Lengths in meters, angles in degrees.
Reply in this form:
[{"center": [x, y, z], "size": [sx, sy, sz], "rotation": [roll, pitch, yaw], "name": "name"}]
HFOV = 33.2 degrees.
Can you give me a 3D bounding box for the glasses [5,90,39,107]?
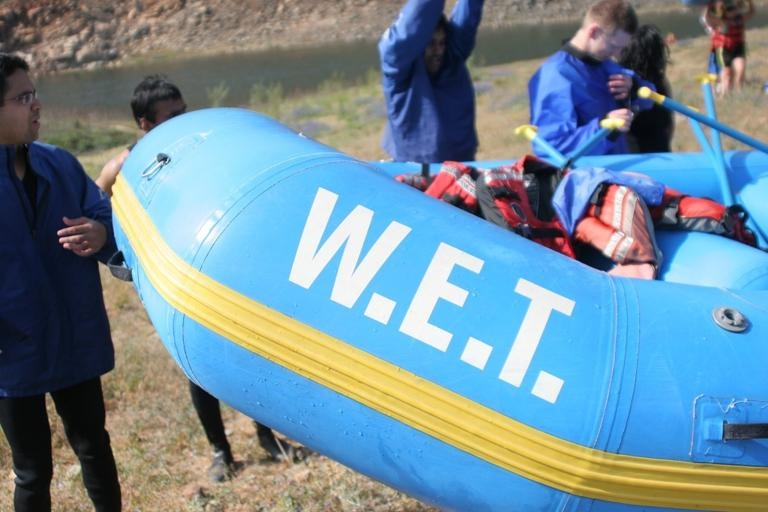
[{"center": [-1.969, -0.854, 7.038], "size": [0.060, 0.073, 0.210], "rotation": [15, 25, 37], "name": "glasses"}]
